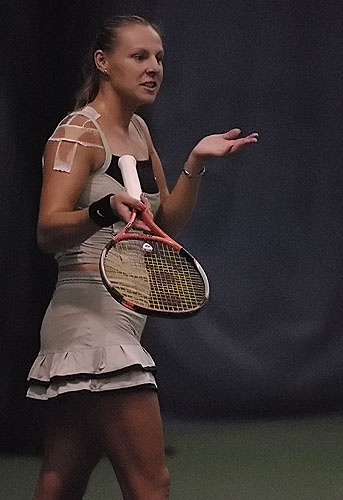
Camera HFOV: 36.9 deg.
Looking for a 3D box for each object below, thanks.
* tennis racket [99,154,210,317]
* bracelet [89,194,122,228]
[{"bbox_3d":[-0.053,-0.046,1.007,0.211,0.028,0.436,8,43,-21],"label":"tennis racket"},{"bbox_3d":[-0.108,-0.061,0.811,0.044,0.046,0.052,5,18,-2],"label":"bracelet"}]
